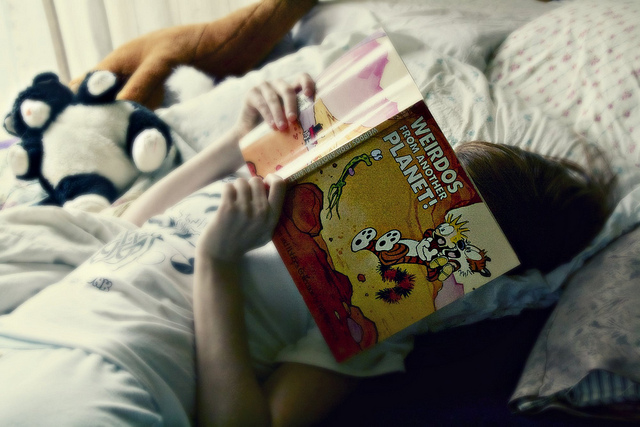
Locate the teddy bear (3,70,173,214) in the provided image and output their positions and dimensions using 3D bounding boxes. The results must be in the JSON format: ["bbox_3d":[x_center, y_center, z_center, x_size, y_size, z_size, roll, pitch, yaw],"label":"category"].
[{"bbox_3d":[-0.667,-0.257,1.614,0.476,0.361,0.383,-16,35,-23],"label":"teddy bear"}]

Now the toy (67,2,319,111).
[{"bbox_3d":[-0.392,-0.539,1.901,0.764,0.326,0.314,-22,40,-7],"label":"toy"}]

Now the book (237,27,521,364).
[{"bbox_3d":[0.089,-0.042,1.101,0.392,0.423,0.487,-20,51,-15],"label":"book"}]
